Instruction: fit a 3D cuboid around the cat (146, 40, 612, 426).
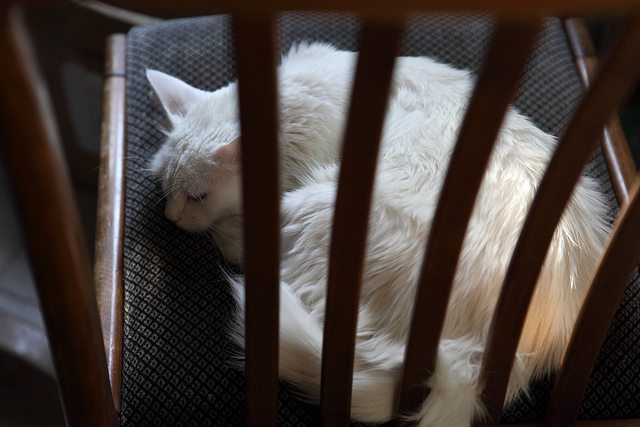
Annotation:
[{"bbox_3d":[0.107,0.016,1.032,0.563,0.658,0.211,25,-32,-5],"label":"cat"}]
